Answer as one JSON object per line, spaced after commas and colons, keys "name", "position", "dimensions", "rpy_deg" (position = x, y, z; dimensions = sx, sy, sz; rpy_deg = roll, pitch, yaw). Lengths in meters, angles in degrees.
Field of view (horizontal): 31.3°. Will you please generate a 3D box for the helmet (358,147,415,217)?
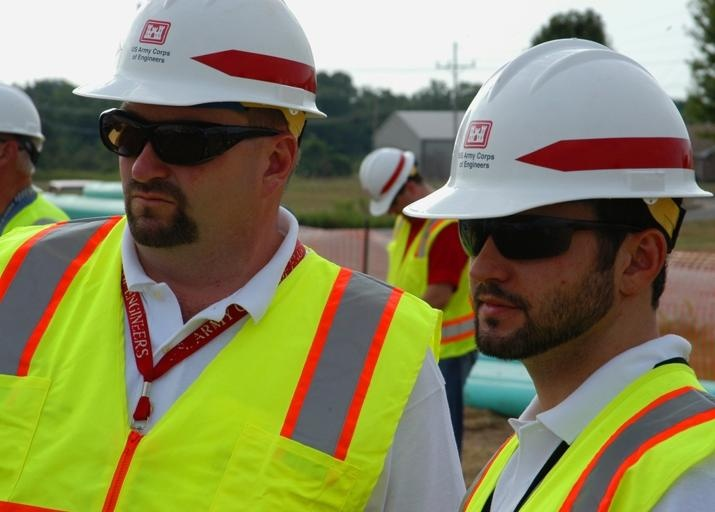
{"name": "helmet", "position": [0.253, -0.554, 9.440], "dimensions": [0.248, 0.493, 0.383], "rpy_deg": [25, 3, -36]}
